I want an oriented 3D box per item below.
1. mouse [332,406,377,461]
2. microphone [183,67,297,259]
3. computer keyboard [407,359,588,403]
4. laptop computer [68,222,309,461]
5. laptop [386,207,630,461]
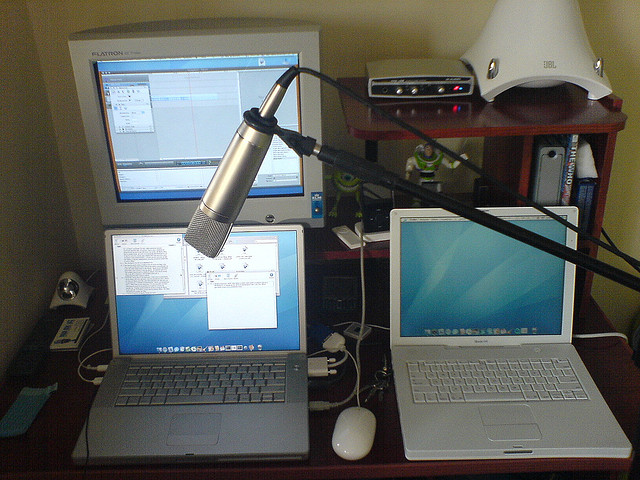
[{"bbox_3d":[0.087,0.487,1.501,0.103,0.042,0.153,1,37,17],"label":"mouse"},{"bbox_3d":[-0.151,-0.132,1.088,0.089,0.382,0.092,42,30,23],"label":"microphone"},{"bbox_3d":[0.484,0.386,1.595,0.459,0.034,0.210,-3,25,11],"label":"computer keyboard"},{"bbox_3d":[-0.306,0.283,1.709,0.581,0.598,0.560,2,29,-3],"label":"laptop computer"},{"bbox_3d":[0.475,0.239,1.546,0.579,0.548,0.361,2,16,0],"label":"laptop"}]
